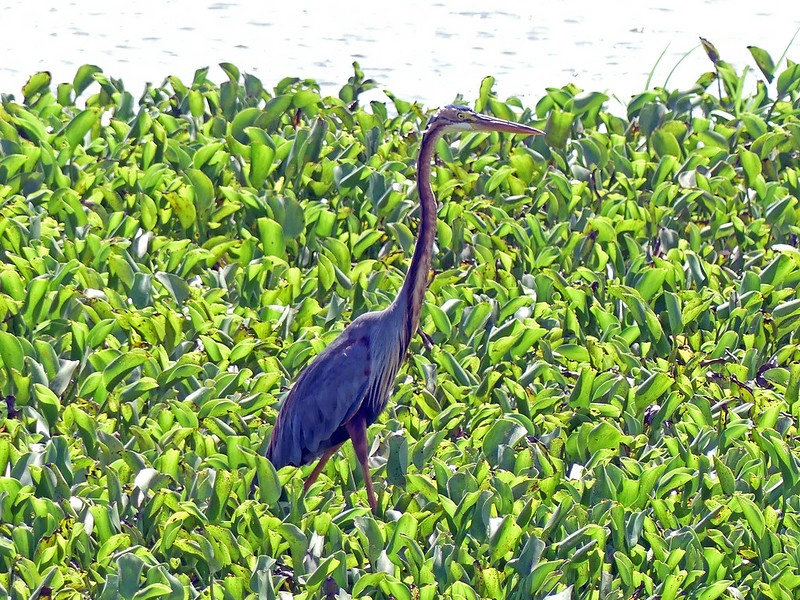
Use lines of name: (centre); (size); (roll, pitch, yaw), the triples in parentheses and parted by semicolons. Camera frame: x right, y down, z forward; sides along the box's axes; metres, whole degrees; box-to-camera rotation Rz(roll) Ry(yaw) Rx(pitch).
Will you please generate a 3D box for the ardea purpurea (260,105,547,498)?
ardea purpurea: (-0.147, -0.020, 6.977); (0.688, 2.044, 0.643); (15, 13, 1)
